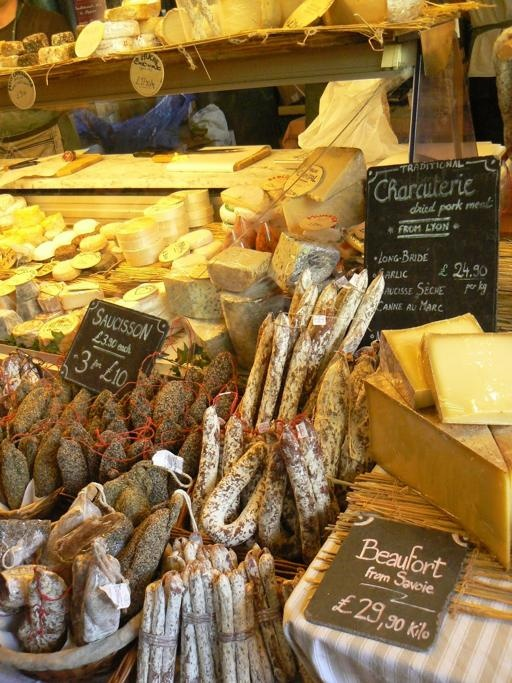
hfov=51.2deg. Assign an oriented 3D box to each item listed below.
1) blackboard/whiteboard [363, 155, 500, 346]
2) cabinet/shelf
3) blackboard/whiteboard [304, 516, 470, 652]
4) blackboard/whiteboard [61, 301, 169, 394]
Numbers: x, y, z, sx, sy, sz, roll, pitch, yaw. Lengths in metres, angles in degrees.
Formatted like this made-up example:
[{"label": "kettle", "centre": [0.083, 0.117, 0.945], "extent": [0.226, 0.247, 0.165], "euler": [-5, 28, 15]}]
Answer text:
[{"label": "blackboard/whiteboard", "centre": [0.488, -0.271, 1.513], "extent": [0.356, 0.447, 0.187], "euler": [0, 25, 19]}, {"label": "cabinet/shelf", "centre": [-0.082, -0.753, 1.969], "extent": [1.784, 0.677, 0.599], "euler": [10, 29, 35]}, {"label": "blackboard/whiteboard", "centre": [0.222, 0.391, 0.886], "extent": [0.207, 0.022, 0.246], "euler": [6, 27, 29]}, {"label": "blackboard/whiteboard", "centre": [-0.521, 0.022, 1.888], "extent": [0.024, 0.311, 0.337], "euler": [21, -1, 34]}]
